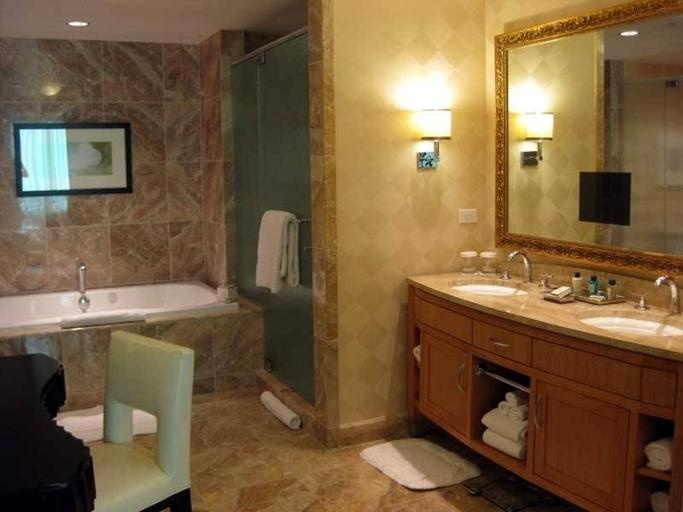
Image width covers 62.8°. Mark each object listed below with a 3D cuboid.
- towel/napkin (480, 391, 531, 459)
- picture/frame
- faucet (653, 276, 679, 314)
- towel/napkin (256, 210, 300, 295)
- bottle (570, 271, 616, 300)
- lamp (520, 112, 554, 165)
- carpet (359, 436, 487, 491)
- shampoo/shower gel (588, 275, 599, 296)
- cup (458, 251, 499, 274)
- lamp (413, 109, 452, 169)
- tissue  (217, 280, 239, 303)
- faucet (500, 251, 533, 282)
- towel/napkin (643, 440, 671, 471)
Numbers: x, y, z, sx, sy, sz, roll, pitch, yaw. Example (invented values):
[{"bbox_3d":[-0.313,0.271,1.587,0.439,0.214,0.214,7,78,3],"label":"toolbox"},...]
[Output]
[{"bbox_3d":[0.886,0.897,2.974,0.271,0.113,0.270,8,8,43],"label":"towel/napkin"},{"bbox_3d":[-2.471,-0.896,5.066,0.646,0.484,0.016,-2,3,-23],"label":"picture/frame"},{"bbox_3d":[1.581,0.179,2.702,0.110,0.197,0.297,5,13,31],"label":"faucet"},{"bbox_3d":[-0.436,-0.027,3.973,0.239,0.704,0.509,-4,9,-31],"label":"towel/napkin"},{"bbox_3d":[1.379,0.174,3.063,0.156,0.076,0.156,-3,9,0],"label":"bottle"},{"bbox_3d":[1.224,-0.713,3.481,0.174,0.332,0.204,-5,12,-15],"label":"lamp"},{"bbox_3d":[0.466,1.246,3.388,0.471,0.028,0.655,-10,15,-38],"label":"carpet"},{"bbox_3d":[1.390,0.150,3.068,0.050,0.095,0.161,4,12,25],"label":"shampoo/shower gel"},{"bbox_3d":[0.916,0.037,3.727,0.246,0.158,0.251,-1,11,0],"label":"cup"},{"bbox_3d":[0.626,-0.742,3.590,0.294,0.371,0.168,-8,13,-32],"label":"lamp"},{"bbox_3d":[-1.004,0.304,4.910,0.163,0.241,0.163,-6,10,-41],"label":"tissue "},{"bbox_3d":[1.057,0.064,3.365,0.223,0.198,0.060,-6,10,-30],"label":"faucet"},{"bbox_3d":[1.320,0.825,2.329,0.085,0.127,0.037,0,-6,42],"label":"towel/napkin"}]
